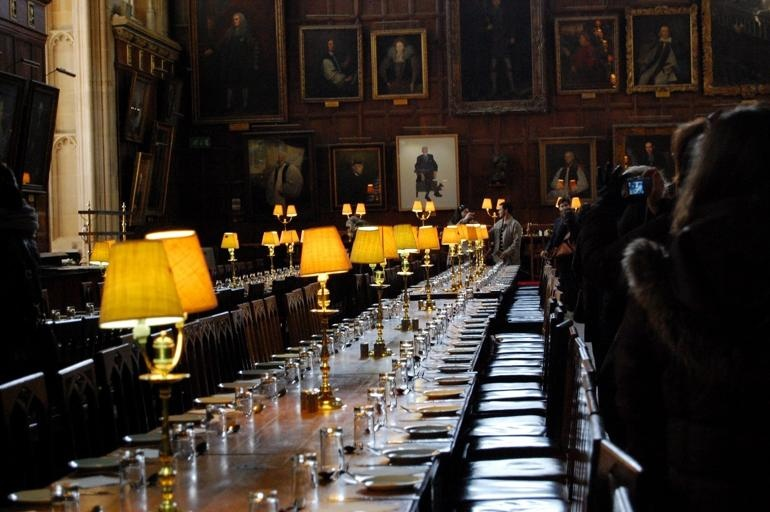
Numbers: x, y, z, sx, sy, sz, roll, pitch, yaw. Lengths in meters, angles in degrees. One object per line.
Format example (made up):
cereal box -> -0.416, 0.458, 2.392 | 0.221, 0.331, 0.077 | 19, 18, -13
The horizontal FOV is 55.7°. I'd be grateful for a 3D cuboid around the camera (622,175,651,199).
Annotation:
camera -> 1.509, -0.411, 4.361 | 0.168, 0.127, 0.097 | 2, 5, 26
